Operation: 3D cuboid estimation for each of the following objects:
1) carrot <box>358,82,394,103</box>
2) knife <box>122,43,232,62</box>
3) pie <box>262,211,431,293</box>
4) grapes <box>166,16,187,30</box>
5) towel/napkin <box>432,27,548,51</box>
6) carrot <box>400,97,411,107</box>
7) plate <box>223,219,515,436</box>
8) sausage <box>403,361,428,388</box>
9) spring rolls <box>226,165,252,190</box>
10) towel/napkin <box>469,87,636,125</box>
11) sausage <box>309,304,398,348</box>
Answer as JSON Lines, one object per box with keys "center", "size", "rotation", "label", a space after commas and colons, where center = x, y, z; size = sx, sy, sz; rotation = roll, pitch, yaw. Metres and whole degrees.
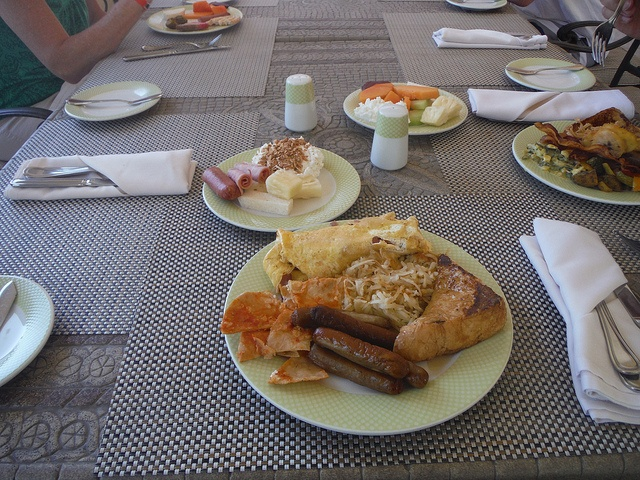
{"center": [0.242, -0.637, 2.036], "size": [0.113, 0.028, 0.111], "rotation": [2, 42, 11], "label": "carrot"}
{"center": [-0.729, -0.974, 2.494], "size": [0.523, 0.060, 0.068], "rotation": [-9, 36, -8], "label": "knife"}
{"center": [0.059, 0.017, 1.307], "size": [0.348, 0.109, 0.226], "rotation": [-12, 47, 4], "label": "pie"}
{"center": [-0.812, -1.245, 2.710], "size": [0.106, 0.039, 0.084], "rotation": [-28, 60, -23], "label": "grapes"}
{"center": [0.896, -1.065, 2.526], "size": [0.387, 0.058, 0.226], "rotation": [1, 40, 1], "label": "towel/napkin"}
{"center": [0.353, -0.563, 1.949], "size": [0.044, 0.016, 0.047], "rotation": [-2, 49, -22], "label": "carrot"}
{"center": [0.124, 0.228, 1.195], "size": [0.720, 0.074, 0.490], "rotation": [-1, 57, 0], "label": "plate"}
{"center": [0.222, 0.308, 1.089], "size": [0.037, 0.023, 0.066], "rotation": [-11, 36, -9], "label": "sausage"}
{"center": [-0.261, -0.204, 1.572], "size": [0.032, 0.035, 0.079], "rotation": [-30, 30, -11], "label": "spring rolls"}
{"center": [0.913, -0.553, 1.949], "size": [0.498, 0.076, 0.265], "rotation": [2, 44, -1], "label": "towel/napkin"}
{"center": [0.082, 0.210, 1.153], "size": [0.141, 0.037, 0.039], "rotation": [21, 40, 4], "label": "sausage"}
